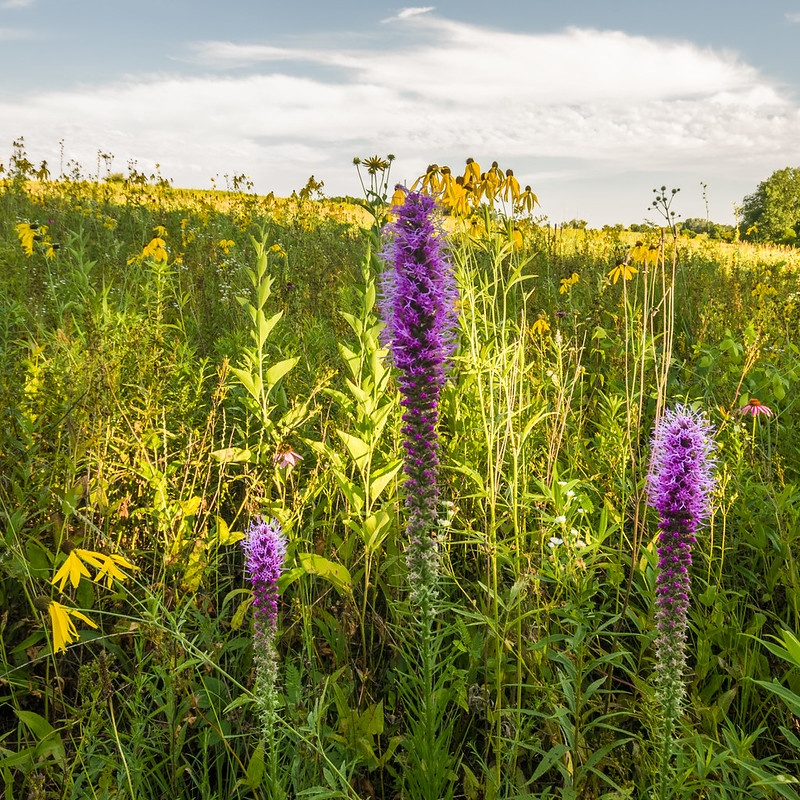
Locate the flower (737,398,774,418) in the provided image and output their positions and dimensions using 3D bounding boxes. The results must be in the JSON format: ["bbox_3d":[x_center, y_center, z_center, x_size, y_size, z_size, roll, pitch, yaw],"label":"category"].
[{"bbox_3d":[1.985,0.050,3.681,0.159,0.103,0.162,-9,19,-38],"label":"flower"}]

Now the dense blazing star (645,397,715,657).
[{"bbox_3d":[0.972,0.491,2.348,0.220,0.945,0.464,7,13,26],"label":"dense blazing star"}]

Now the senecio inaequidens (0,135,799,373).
[{"bbox_3d":[-0.194,-1.006,5.546,4.105,1.524,2.941,9,12,24],"label":"senecio inaequidens"}]

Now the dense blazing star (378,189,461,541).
[{"bbox_3d":[0.064,-0.144,2.459,0.286,1.213,0.419,1,11,2],"label":"dense blazing star"}]
